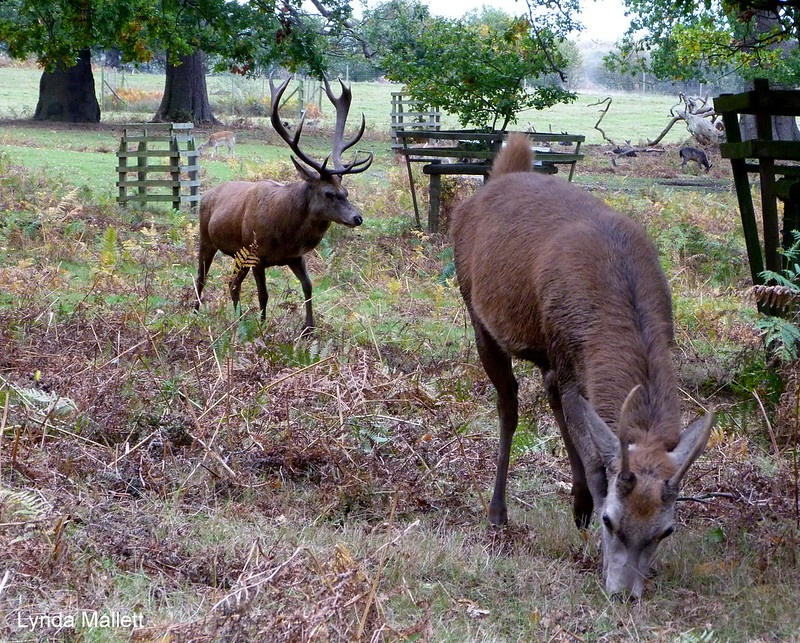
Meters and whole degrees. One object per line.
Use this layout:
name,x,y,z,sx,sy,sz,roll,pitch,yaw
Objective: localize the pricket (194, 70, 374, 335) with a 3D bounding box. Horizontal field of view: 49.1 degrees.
pricket,-1.510,-1.705,11.265,2.392,2.774,2.842,-5,17,-32
